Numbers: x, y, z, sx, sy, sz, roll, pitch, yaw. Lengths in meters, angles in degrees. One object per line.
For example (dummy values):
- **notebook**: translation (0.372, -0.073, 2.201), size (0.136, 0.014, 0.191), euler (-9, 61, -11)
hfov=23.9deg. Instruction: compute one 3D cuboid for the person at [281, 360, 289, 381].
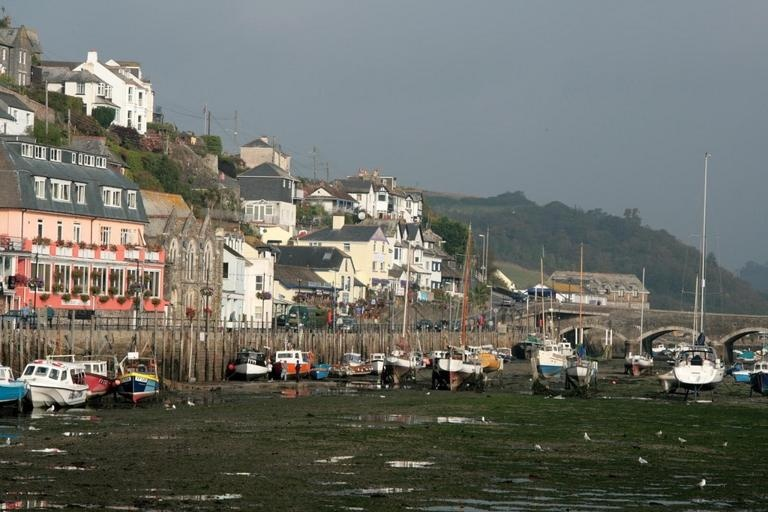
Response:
- **person**: translation (-10.999, 13.015, 201.656), size (0.835, 2.245, 0.486), euler (7, -16, -35)
